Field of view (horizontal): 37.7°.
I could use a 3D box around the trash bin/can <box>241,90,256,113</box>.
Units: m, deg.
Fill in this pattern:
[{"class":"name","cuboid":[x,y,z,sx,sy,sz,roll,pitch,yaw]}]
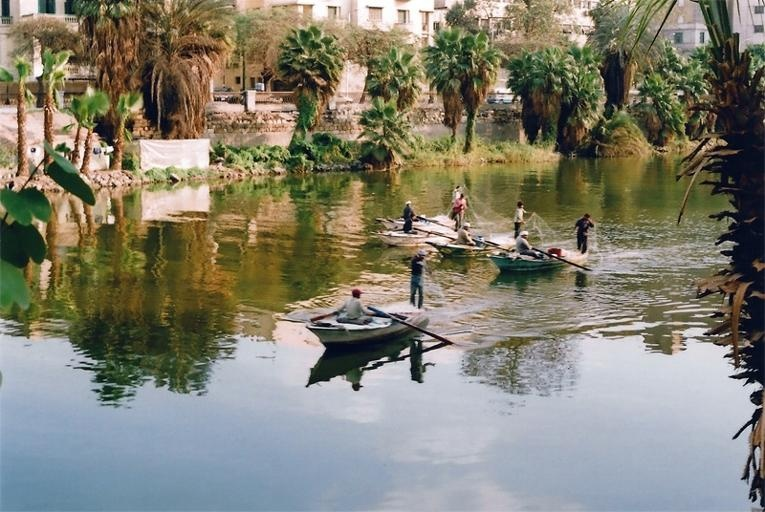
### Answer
[{"class":"trash bin/can","cuboid":[-7.914,-9.281,66.854,0.786,1.224,0.667,-4,13,-20]}]
